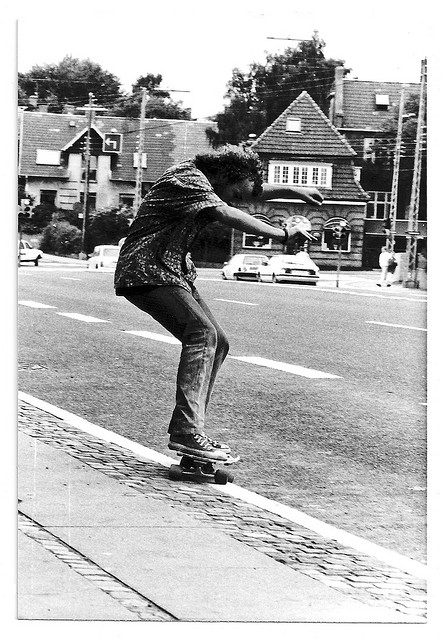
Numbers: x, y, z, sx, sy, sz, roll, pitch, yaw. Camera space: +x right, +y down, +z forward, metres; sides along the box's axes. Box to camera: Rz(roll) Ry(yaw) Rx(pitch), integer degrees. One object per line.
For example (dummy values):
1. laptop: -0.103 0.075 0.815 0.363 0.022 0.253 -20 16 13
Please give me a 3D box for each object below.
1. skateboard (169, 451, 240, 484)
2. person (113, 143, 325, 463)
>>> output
1. skateboard: -0.064 0.653 4.767 0.338 0.104 0.204 5 3 -16
2. person: 0.058 -0.098 4.720 1.015 1.290 0.801 2 3 -21
